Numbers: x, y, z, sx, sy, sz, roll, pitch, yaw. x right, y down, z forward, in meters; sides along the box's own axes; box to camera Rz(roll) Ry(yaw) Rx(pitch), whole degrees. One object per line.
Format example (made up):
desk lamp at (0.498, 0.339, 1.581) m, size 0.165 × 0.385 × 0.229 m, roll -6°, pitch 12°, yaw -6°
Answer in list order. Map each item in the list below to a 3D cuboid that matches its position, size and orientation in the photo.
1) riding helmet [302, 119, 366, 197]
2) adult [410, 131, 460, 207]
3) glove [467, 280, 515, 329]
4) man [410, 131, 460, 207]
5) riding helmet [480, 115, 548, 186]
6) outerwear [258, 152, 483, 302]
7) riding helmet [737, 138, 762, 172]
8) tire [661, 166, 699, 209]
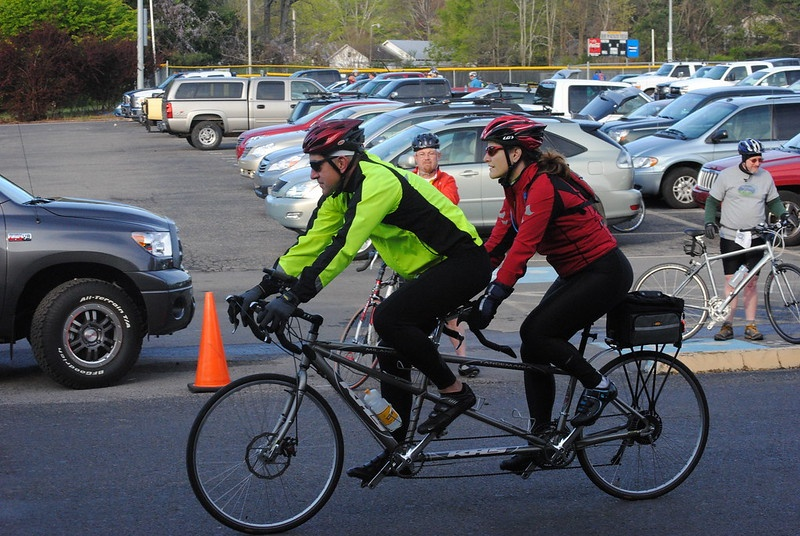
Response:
riding helmet at (-0.526, -0.830, 6.864) m, size 0.615 × 0.485 × 0.416 m, roll -5°, pitch 13°, yaw -6°
adult at (0.397, -1.039, 10.337) m, size 0.614 × 0.767 × 0.492 m, roll -2°, pitch 0°, yaw -6°
glove at (0.630, 0.286, 6.914) m, size 0.151 × 0.391 × 0.285 m, roll 50°, pitch 4°, yaw 7°
man at (0.342, -1.042, 10.349) m, size 0.614 × 0.767 × 0.492 m, roll -2°, pitch 0°, yaw -6°
riding helmet at (0.847, -0.908, 7.063) m, size 0.616 × 0.467 × 0.418 m, roll 1°, pitch 4°, yaw 0°
outerwear at (-0.168, -0.311, 6.844) m, size 1.444 × 0.984 × 0.456 m, roll -5°, pitch 11°, yaw -24°
riding helmet at (3.899, -1.256, 10.761) m, size 0.319 × 0.328 × 0.381 m, roll 2°, pitch 1°, yaw -9°
tire at (5.523, -1.598, 18.787) m, size 1.061 × 0.840 × 0.339 m, roll -3°, pitch 9°, yaw -10°
